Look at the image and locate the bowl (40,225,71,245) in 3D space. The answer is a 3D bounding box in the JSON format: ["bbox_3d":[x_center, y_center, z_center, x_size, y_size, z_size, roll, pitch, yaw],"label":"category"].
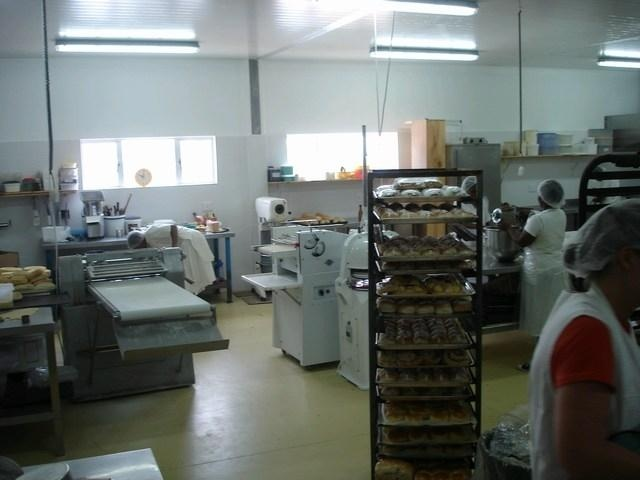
[{"bbox_3d":[-3.191,-0.055,6.499,0.324,0.145,0.265,0,0,37],"label":"bowl"}]

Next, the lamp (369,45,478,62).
[{"bbox_3d":[1.413,-2.496,7.311,1.570,0.173,0.788,-6,11,-23],"label":"lamp"}]

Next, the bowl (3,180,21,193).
[{"bbox_3d":[-3.701,-0.614,6.489,0.207,0.131,0.129,-2,3,-35],"label":"bowl"}]

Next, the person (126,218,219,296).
[{"bbox_3d":[-1.931,0.292,6.890,0.776,0.896,1.004,-16,-8,27],"label":"person"}]

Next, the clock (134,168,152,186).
[{"bbox_3d":[-2.472,-0.866,7.499,0.275,0.284,0.040,-2,2,-22],"label":"clock"}]

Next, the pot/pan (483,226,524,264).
[{"bbox_3d":[1.727,0.028,5.195,0.352,0.272,0.379,3,7,44],"label":"pot/pan"}]
